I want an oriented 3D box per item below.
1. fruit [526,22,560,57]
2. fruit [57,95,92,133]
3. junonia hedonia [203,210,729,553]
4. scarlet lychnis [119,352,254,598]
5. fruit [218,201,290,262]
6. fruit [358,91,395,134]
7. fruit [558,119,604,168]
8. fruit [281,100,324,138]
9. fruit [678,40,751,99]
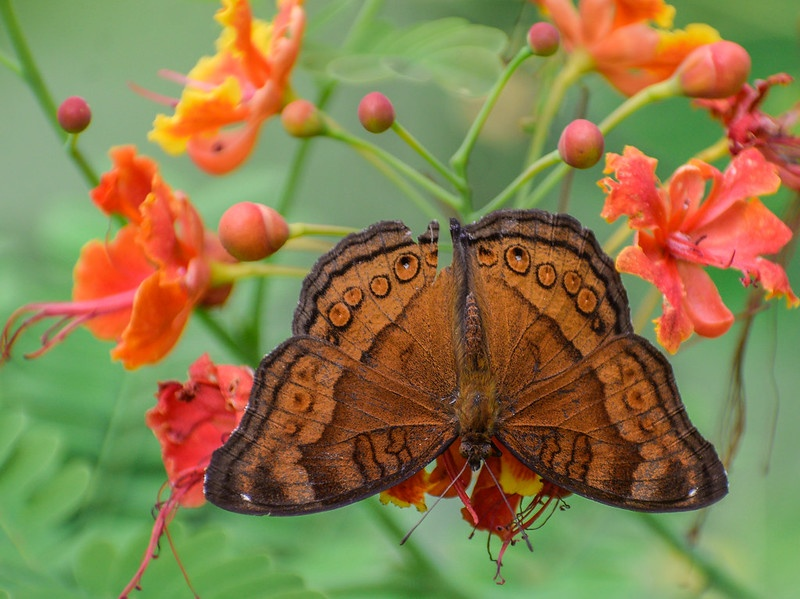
[{"bbox_3d":[0.413,-0.744,2.878,0.084,0.071,0.109,30,77,13],"label":"fruit"},{"bbox_3d":[-0.896,-0.516,2.786,0.088,0.091,0.122,-5,100,-17],"label":"fruit"},{"bbox_3d":[0.177,0.157,2.693,1.304,0.250,0.826,-2,73,4],"label":"junonia hedonia"},{"bbox_3d":[-0.575,0.526,2.871,0.254,0.549,0.592,7,73,12],"label":"scarlet lychnis"},{"bbox_3d":[-0.425,-0.199,2.899,0.185,0.194,0.160,-2,105,-6],"label":"fruit"},{"bbox_3d":[-0.067,-0.530,2.853,0.100,0.101,0.138,2,75,-14],"label":"fruit"},{"bbox_3d":[0.498,-0.425,2.853,0.111,0.128,0.149,0,55,-7],"label":"fruit"},{"bbox_3d":[-0.281,-0.515,2.866,0.072,0.139,0.067,-7,45,6],"label":"fruit"},{"bbox_3d":[0.891,-0.646,2.840,0.204,0.097,0.133,-11,72,1],"label":"fruit"}]
